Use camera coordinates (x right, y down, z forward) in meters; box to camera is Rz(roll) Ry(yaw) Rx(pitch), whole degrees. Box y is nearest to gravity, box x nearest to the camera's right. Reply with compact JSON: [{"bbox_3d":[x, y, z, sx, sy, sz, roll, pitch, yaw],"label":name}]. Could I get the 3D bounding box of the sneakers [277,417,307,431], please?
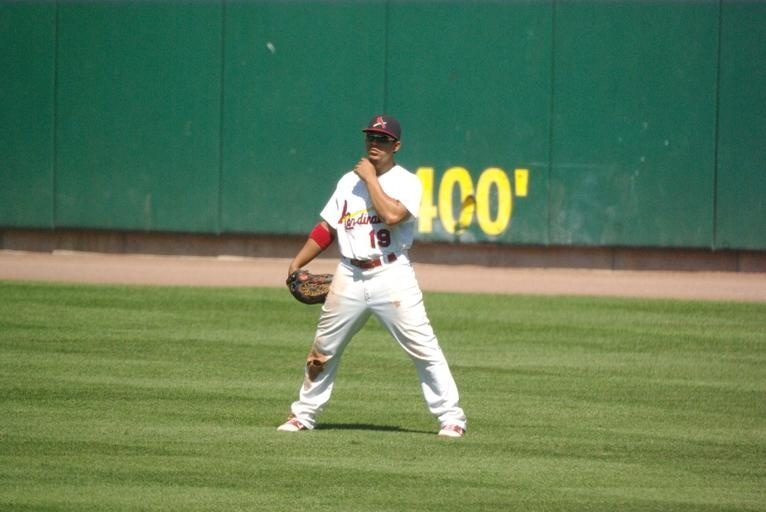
[{"bbox_3d":[-1.187,2.243,23.963,0.293,0.120,0.180,4,-1,5],"label":"sneakers"}]
